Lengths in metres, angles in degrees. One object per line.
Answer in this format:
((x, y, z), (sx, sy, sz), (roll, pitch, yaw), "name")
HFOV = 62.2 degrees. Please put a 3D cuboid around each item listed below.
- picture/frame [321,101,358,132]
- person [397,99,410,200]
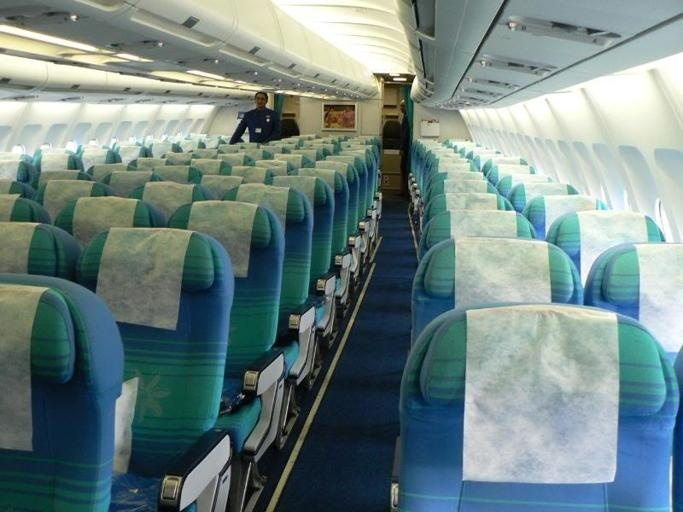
((0.013, -5.138, 20.718), (1.293, 0.906, 0.095), (3, 17, 12), "picture/frame")
((2.188, -3.663, 19.127), (0.325, 3.327, 0.288), (10, 12, 29), "person")
